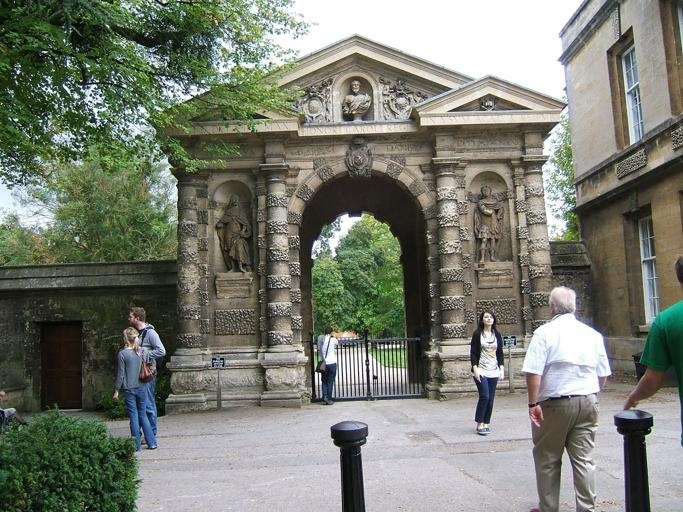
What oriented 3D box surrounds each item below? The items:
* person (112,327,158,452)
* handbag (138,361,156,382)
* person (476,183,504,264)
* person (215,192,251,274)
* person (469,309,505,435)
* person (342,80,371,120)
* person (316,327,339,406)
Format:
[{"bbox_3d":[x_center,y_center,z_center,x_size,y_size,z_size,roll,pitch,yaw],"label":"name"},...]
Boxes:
[{"bbox_3d":[-4.034,2.616,13.776,0.762,2.395,0.743,0,-7,-14],"label":"person"},{"bbox_3d":[-3.849,2.282,13.798,0.199,0.391,0.385,-14,-13,39],"label":"handbag"},{"bbox_3d":[4.174,-0.865,19.829,0.841,2.156,0.269,1,-7,-18],"label":"person"},{"bbox_3d":[-3.009,-0.605,19.592,0.974,2.154,0.280,-1,-7,2],"label":"person"},{"bbox_3d":[2.918,2.339,14.004,0.607,2.432,0.587,-3,-7,12],"label":"person"},{"bbox_3d":[0.404,-4.384,19.903,0.988,1.428,0.688,0,-17,-5],"label":"person"},{"bbox_3d":[-0.375,2.965,18.951,0.555,2.049,0.734,-1,-7,0],"label":"person"}]
